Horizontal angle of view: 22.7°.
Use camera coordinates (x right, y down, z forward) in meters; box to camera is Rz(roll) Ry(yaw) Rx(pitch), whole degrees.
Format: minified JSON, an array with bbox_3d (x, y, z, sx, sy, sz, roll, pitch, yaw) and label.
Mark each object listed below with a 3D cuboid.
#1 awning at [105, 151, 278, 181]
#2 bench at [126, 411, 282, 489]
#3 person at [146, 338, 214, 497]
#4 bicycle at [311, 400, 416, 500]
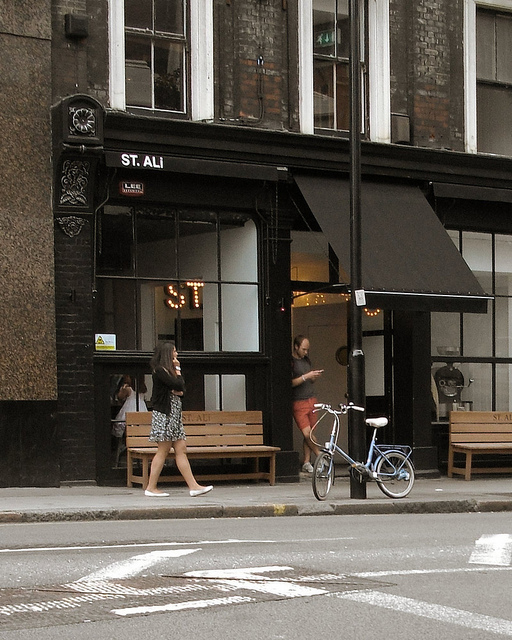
[{"bbox_3d":[-0.782,-1.952,16.081,2.346,0.210,0.169,1,-1,-27],"label":"awning"},{"bbox_3d":[-0.622,1.627,15.829,1.807,1.103,0.630,2,-8,-25],"label":"bench"},{"bbox_3d":[-0.930,1.123,14.422,0.588,1.744,0.498,1,-1,-12],"label":"person"},{"bbox_3d":[1.247,1.528,14.880,1.280,1.205,0.712,2,-11,-7],"label":"bicycle"}]
